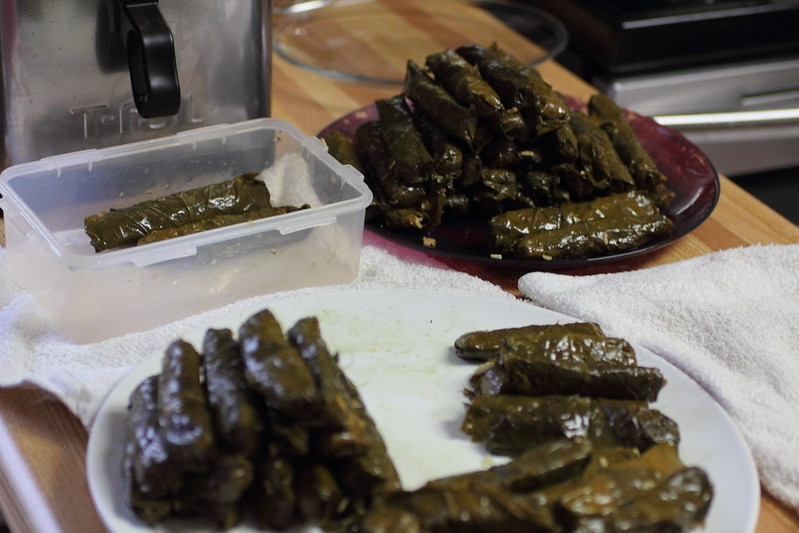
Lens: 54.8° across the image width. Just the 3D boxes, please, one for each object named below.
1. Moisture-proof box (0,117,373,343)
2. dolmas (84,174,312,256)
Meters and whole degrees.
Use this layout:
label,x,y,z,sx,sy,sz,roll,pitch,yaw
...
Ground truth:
label,x,y,z,sx,sy,sz,roll,pitch,yaw
Moisture-proof box,-0.551,-0.096,2.036,0.805,0.274,0.606,-17,40,-26
dolmas,-0.598,-0.154,2.144,0.447,0.088,0.274,-14,26,-22
